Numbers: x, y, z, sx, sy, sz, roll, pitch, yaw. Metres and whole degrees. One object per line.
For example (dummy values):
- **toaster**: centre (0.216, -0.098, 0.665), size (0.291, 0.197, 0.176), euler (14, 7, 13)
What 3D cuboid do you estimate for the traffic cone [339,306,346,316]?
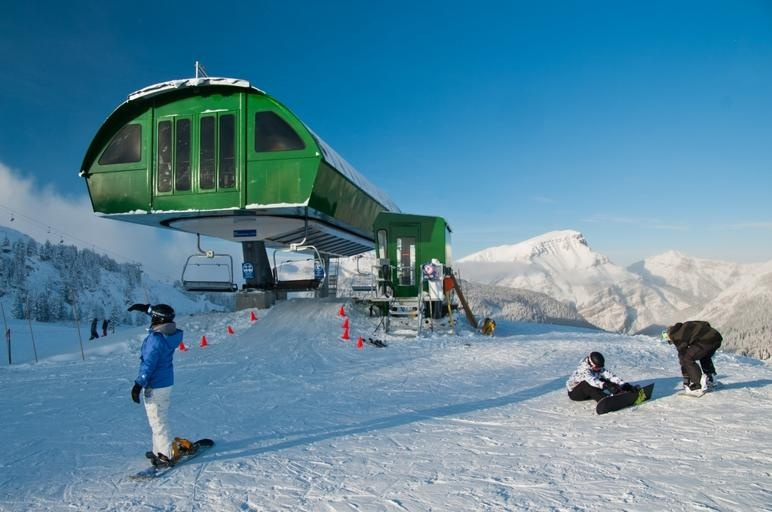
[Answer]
- **traffic cone**: centre (-1.623, 2.074, 21.420), size (0.278, 0.267, 0.266), euler (3, -19, -12)

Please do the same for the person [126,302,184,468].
- **person**: centre (-4.549, 2.395, 11.439), size (1.031, 3.192, 1.596), euler (-6, 13, -20)

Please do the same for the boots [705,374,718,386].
- **boots**: centre (7.877, 3.016, 13.805), size (0.264, 0.236, 0.145), euler (14, -23, -34)

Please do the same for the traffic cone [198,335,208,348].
- **traffic cone**: centre (-6.150, 2.907, 19.316), size (0.371, 0.423, 0.342), euler (-3, 3, -24)

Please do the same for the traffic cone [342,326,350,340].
- **traffic cone**: centre (-1.322, 2.638, 19.346), size (0.326, 0.306, 0.296), euler (-6, 25, -11)

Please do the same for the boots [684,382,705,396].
- **boots**: centre (7.282, 3.141, 13.389), size (0.424, 0.269, 0.320), euler (4, 13, 25)

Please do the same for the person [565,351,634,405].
- **person**: centre (4.906, 2.855, 13.111), size (0.923, 1.026, 1.515), euler (2, 3, -39)

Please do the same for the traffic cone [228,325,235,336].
- **traffic cone**: centre (-5.558, 2.678, 20.572), size (0.311, 0.294, 0.285), euler (-3, 1, -9)

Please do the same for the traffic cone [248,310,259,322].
- **traffic cone**: centre (-5.072, 2.306, 21.843), size (0.397, 0.549, 0.335), euler (6, -26, -18)

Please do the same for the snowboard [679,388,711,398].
- **snowboard**: centre (7.267, 3.244, 13.411), size (0.672, 0.198, 0.118), euler (-5, -18, 35)

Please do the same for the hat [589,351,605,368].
- **hat**: centre (4.814, 2.354, 12.979), size (0.311, 0.404, 0.347), euler (2, 12, 14)

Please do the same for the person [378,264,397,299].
- **person**: centre (-0.004, 0.865, 21.865), size (0.521, 1.247, 0.950), euler (-1, 12, 0)
